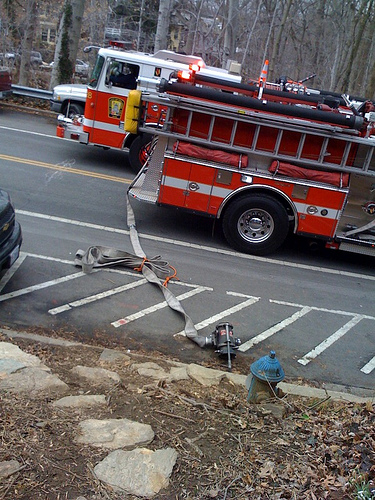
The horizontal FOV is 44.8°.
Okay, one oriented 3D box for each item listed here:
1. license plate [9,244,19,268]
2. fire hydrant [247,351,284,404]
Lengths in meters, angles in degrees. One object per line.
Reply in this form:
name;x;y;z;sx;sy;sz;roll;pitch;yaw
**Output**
license plate;-2.240;0.071;5.844;0.076;0.230;0.270;19;-18;2
fire hydrant;0.668;1.082;3.891;0.274;0.543;0.280;12;7;12
